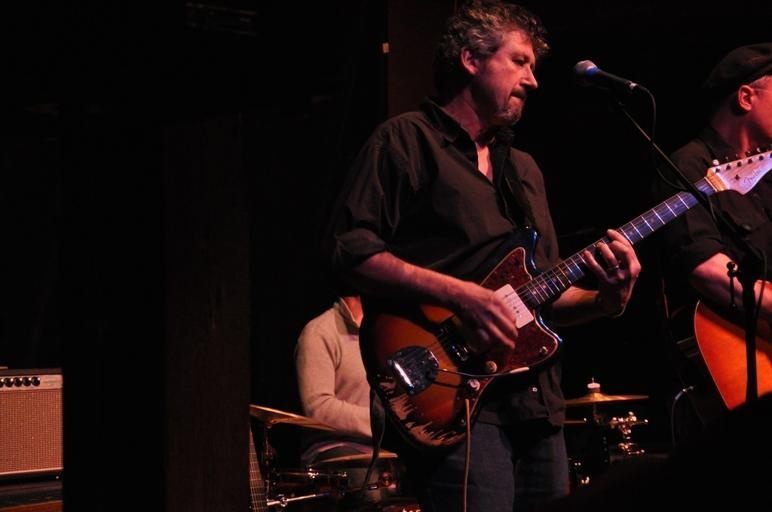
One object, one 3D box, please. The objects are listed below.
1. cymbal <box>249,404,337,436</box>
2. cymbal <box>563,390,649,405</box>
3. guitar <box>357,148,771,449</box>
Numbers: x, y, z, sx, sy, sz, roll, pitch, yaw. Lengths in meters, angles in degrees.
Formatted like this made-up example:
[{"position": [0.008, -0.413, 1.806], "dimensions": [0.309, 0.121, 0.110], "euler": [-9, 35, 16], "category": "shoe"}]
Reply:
[{"position": [-0.560, 0.972, 4.143], "dimensions": [0.475, 0.117, 0.467], "euler": [15, -16, -19], "category": "cymbal"}, {"position": [1.445, 0.944, 4.600], "dimensions": [0.281, 0.047, 0.275], "euler": [-1, -5, -21], "category": "cymbal"}, {"position": [0.894, 0.183, 3.019], "dimensions": [2.059, 1.176, 0.522], "euler": [-1, -23, -11], "category": "guitar"}]
